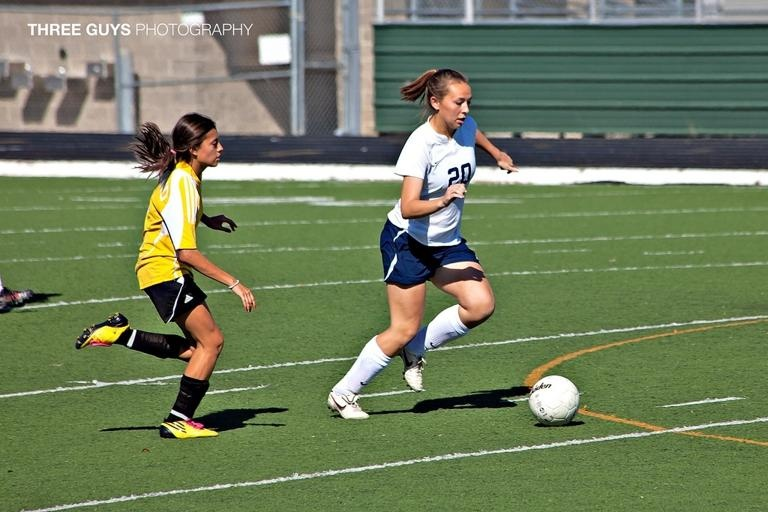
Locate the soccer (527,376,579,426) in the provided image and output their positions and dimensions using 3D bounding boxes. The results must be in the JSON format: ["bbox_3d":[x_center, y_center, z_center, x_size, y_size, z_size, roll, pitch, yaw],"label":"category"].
[{"bbox_3d":[1.557,1.341,10.425,0.411,0.305,0.388,-25,26,-31],"label":"soccer"}]

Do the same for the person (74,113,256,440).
[{"bbox_3d":[-1.854,0.184,10.190,1.352,2.873,0.982,-2,14,-10],"label":"person"}]

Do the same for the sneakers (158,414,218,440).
[{"bbox_3d":[-1.780,1.557,10.273,0.461,0.116,0.199,0,1,-8],"label":"sneakers"}]

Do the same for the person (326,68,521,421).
[{"bbox_3d":[0.401,-0.082,10.456,1.548,3.199,0.895,-8,16,-31],"label":"person"}]

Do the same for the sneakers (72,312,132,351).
[{"bbox_3d":[-2.509,0.692,10.392,0.621,0.222,0.229,-18,52,-3],"label":"sneakers"}]
